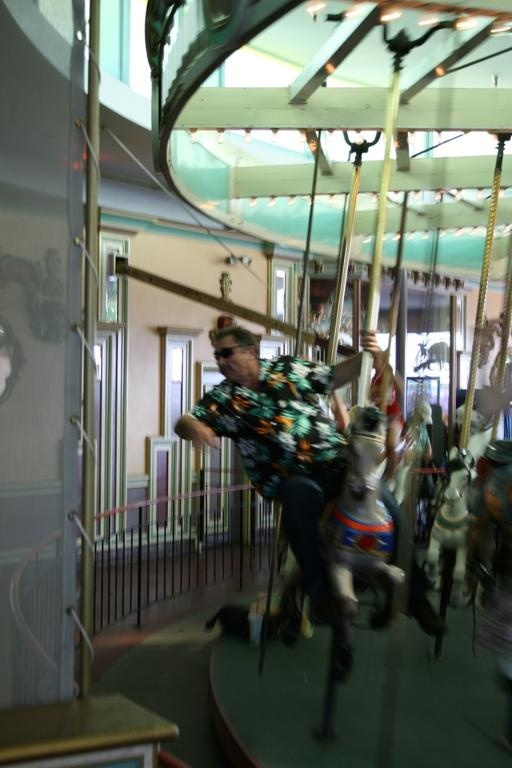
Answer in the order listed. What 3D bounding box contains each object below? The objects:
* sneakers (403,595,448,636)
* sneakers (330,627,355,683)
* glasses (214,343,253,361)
[{"bbox_3d":[0.389,0.534,1.366,0.037,0.090,0.116,-2,-13,-14],"label":"sneakers"},{"bbox_3d":[0.204,0.640,1.405,0.051,0.166,0.049,3,8,12],"label":"sneakers"},{"bbox_3d":[-0.068,-0.087,1.670,0.102,0.048,0.048,3,9,2],"label":"glasses"}]
